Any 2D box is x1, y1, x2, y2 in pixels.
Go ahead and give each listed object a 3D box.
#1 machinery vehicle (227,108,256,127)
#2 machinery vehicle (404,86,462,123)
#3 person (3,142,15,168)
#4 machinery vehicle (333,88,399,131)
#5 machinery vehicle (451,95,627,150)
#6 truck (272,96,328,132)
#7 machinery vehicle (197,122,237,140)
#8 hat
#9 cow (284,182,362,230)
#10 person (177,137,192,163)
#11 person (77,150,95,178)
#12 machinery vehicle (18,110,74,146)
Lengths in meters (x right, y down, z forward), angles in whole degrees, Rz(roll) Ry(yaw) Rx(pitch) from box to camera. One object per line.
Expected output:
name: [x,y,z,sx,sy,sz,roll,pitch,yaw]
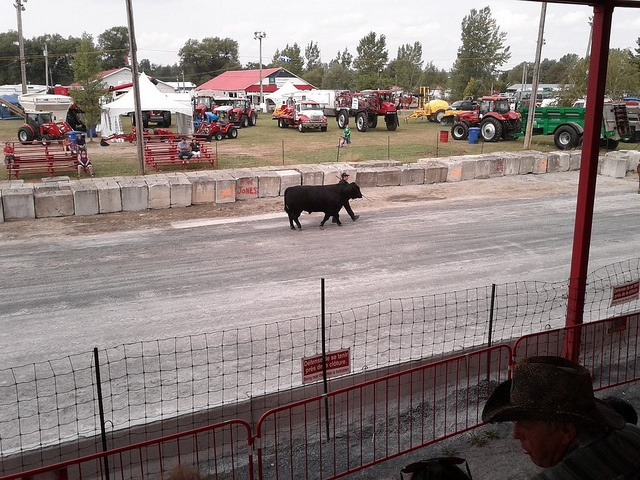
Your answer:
machinery vehicle: [-5.477,-8.626,44.713,1.389,1.240,2.500,5,20,13]
machinery vehicle: [8.498,-10.594,49.985,4.079,2.346,1.860,1,16,13]
person: [-11.635,-3.208,24.116,0.361,0.893,1.573,-9,17,-25]
machinery vehicle: [2.615,-8.505,41.675,2.121,2.012,4.962,-8,13,-32]
machinery vehicle: [11.093,-5.934,32.416,3.049,2.442,10.462,-9,16,-25]
truck: [-1.116,-8.304,42.539,1.760,1.729,5.055,-7,17,-23]
machinery vehicle: [-5.881,-6.227,36.320,1.326,0.837,2.561,9,12,40]
hat: [1.949,1.274,5.438,0.843,0.335,0.700,5,-4,9]
cow: [0.087,-0.903,17.847,1.499,0.803,0.436,-4,13,-18]
person: [-5.482,-3.682,26.187,0.586,0.754,0.749,-5,15,-11]
person: [-8.952,-2.990,24.483,0.597,1.032,1.364,-7,16,-19]
machinery vehicle: [-13.326,-5.292,30.573,2.900,1.555,1.589,1,22,2]
